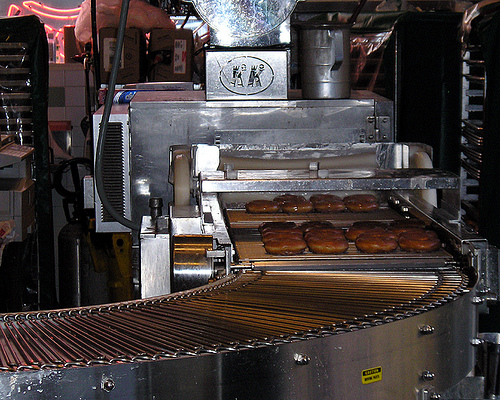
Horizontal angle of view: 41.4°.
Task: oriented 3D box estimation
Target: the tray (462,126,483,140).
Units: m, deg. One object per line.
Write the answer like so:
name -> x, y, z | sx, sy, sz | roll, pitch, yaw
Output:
tray -> 0.855, -0.251, 2.550 | 0.058, 0.013, 0.059 | 18, 4, -34

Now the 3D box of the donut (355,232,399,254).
donut -> 0.376, 0.125, 1.955 | 0.127, 0.041, 0.106 | -1, 12, 9

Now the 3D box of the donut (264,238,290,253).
donut -> 0.084, 0.132, 1.931 | 0.070, 0.032, 0.064 | -13, 15, -40

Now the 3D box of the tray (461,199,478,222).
tray -> 0.856, 0.033, 2.581 | 0.059, 0.071, 0.085 | 0, 12, 16

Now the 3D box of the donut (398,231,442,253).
donut -> 0.495, 0.123, 1.928 | 0.123, 0.049, 0.097 | 1, 12, 18
